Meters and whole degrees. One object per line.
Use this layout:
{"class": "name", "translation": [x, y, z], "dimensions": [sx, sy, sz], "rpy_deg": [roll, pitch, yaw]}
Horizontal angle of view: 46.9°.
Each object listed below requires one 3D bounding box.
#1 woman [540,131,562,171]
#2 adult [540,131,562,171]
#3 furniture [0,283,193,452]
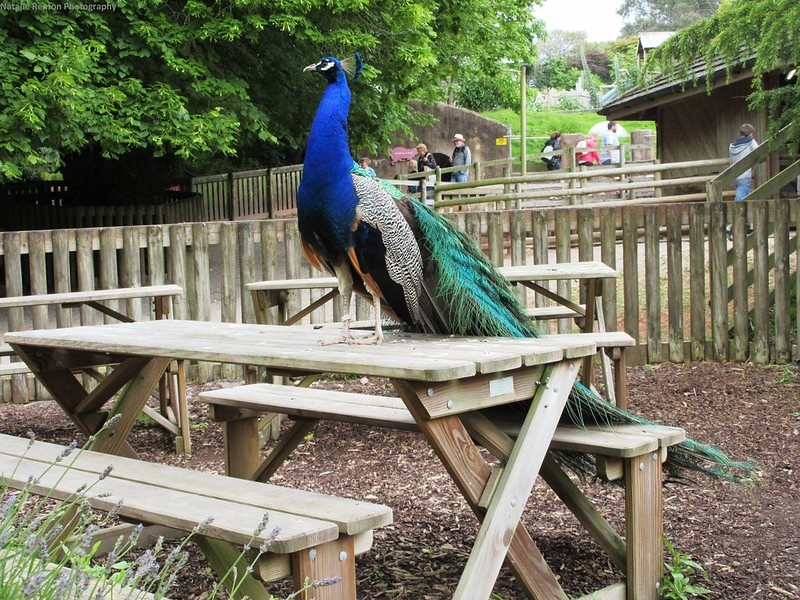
{"class": "woman", "translation": [3.502, -3.354, 21.136], "dimensions": [0.573, 0.957, 0.422], "rpy_deg": [5, -4, 0]}
{"class": "adult", "translation": [3.504, -3.351, 21.126], "dimensions": [0.577, 0.957, 0.439], "rpy_deg": [5, -4, 12]}
{"class": "furniture", "translation": [-2.166, 0.384, 7.380], "dimensions": [1.446, 1.303, 1.461], "rpy_deg": [-1, 1, 43]}
